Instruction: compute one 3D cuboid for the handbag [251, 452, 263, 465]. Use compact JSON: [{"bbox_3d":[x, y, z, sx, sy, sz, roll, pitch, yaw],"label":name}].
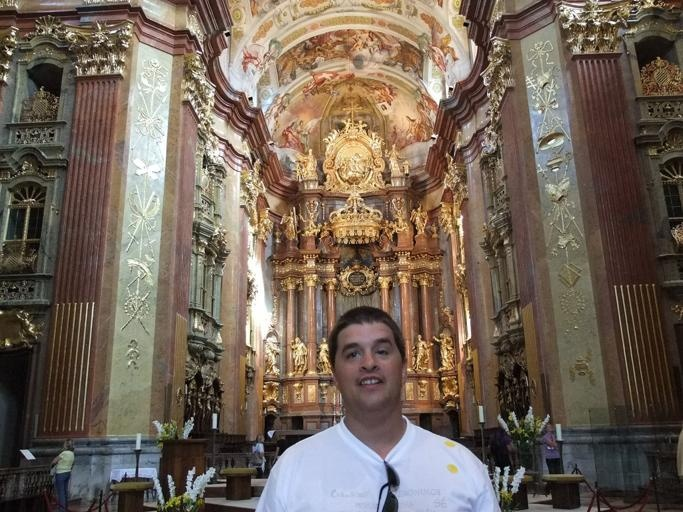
[{"bbox_3d":[-2.402,5.785,15.437,0.351,0.377,0.195,-1,-3,14],"label":"handbag"}]
